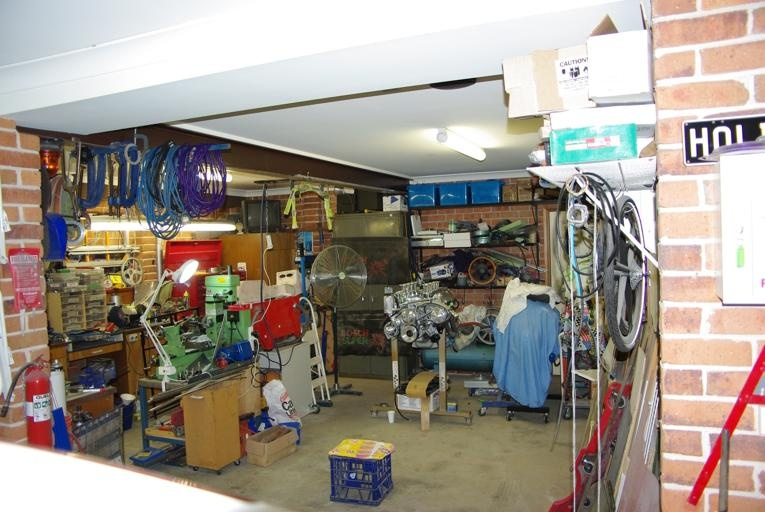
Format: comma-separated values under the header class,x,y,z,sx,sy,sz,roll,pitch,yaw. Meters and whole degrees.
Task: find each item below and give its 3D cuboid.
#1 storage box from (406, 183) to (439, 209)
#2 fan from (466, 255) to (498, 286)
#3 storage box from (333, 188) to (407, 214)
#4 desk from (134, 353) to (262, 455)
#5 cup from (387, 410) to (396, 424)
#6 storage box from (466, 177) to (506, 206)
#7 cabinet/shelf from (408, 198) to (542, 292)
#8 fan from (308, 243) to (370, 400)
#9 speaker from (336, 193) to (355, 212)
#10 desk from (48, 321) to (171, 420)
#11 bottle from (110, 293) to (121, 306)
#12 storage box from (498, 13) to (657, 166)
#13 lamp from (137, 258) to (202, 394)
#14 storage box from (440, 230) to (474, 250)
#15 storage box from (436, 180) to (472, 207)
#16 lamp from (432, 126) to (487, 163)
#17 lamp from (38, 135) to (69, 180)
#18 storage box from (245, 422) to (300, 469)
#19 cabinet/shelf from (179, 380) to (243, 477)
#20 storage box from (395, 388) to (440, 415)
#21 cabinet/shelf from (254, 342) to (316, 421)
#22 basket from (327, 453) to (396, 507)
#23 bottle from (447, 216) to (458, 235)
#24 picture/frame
class,x,y,z,sx,sy,sz,roll,pitch,yaw
storage box,0.676,-0.922,9.126,0.616,0.510,0.339,1,7,22
fan,1.493,0.229,8.703,0.438,0.444,0.158,-1,4,13
storage box,-0.218,-0.861,9.122,1.133,0.366,0.309,0,5,18
desk,-1.769,1.491,5.759,0.565,0.806,1.106,3,6,37
cup,0.111,1.904,6.789,0.117,0.116,0.112,-2,-10,0
storage box,1.536,-0.946,8.683,0.604,0.402,0.337,3,6,25
cabinet/shelf,1.375,-0.566,9.061,2.253,1.461,0.401,26,43,36
fan,-0.540,0.882,7.801,0.683,2.105,1.324,-2,4,-2
speaker,-0.568,-0.846,9.222,0.277,0.268,0.148,4,8,21
desk,-3.346,1.254,7.355,1.102,0.706,0.651,-12,-14,-10
bottle,-3.677,0.606,7.940,0.185,0.205,0.183,1,-4,-15
storage box,1.023,-1.004,3.079,0.750,0.464,0.244,0,5,25
lamp,-1.970,0.627,5.310,0.304,1.210,0.577,20,26,30
storage box,1.134,-0.246,8.707,0.422,0.221,0.161,-2,4,3
storage box,1.096,-0.933,8.862,0.596,0.434,0.326,1,5,24
lamp,0.956,-1.147,6.408,0.198,0.255,1.716,7,1,27
lamp,-2.398,-0.733,4.284,0.269,0.262,0.161,9,9,25
storage box,-1.117,1.911,5.750,0.334,0.140,0.335,-3,0,28
cabinet/shelf,-1.619,1.662,5.582,0.529,0.830,0.341,-3,5,-20
storage box,0.408,1.684,6.825,0.322,0.198,0.324,-1,-1,27
cabinet/shelf,-1.133,1.452,6.629,0.441,0.921,0.882,-7,6,11
basket,-0.204,1.945,5.025,0.444,0.339,0.442,-1,-4,7
bottle,1.100,-0.481,8.918,0.211,0.360,0.211,2,0,0
picture/frame,2.179,0.394,6.389,0.383,1.579,0.510,-15,-38,37
